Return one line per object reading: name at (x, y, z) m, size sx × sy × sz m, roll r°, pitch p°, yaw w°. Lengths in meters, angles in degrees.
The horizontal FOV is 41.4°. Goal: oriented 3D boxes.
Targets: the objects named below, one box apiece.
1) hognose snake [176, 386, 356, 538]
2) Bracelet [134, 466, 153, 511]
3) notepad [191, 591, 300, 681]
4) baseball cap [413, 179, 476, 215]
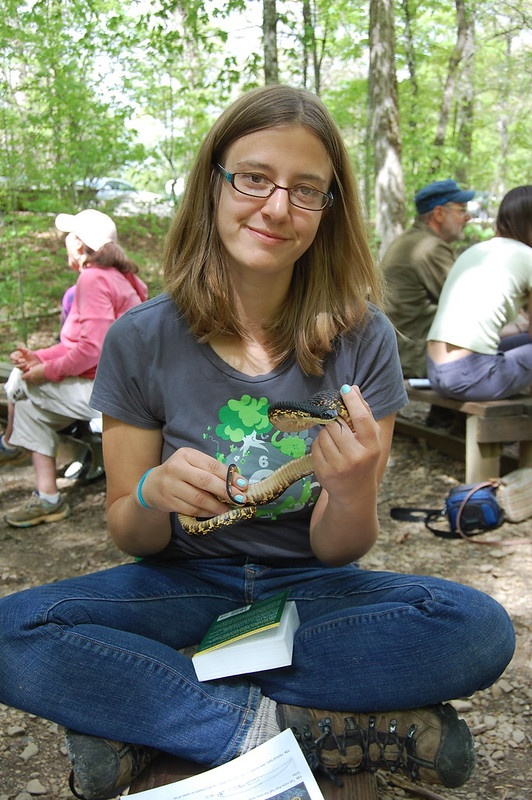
hognose snake at (-0.019, 0.169, 1.776) m, size 0.336 × 0.380 × 0.434 m, roll -9°, pitch 12°, yaw -25°
Bracelet at (-0.342, 0.242, 1.913) m, size 0.080 × 0.094 × 0.038 m, roll 2°, pitch -2°, yaw -40°
notepad at (-0.048, 0.617, 1.809) m, size 0.246 × 0.223 × 0.275 m, roll -2°, pitch 10°, yaw 6°
baseball cap at (1.534, -1.779, 6.261) m, size 0.526 × 0.297 × 0.242 m, roll -4°, pitch 12°, yaw -13°
